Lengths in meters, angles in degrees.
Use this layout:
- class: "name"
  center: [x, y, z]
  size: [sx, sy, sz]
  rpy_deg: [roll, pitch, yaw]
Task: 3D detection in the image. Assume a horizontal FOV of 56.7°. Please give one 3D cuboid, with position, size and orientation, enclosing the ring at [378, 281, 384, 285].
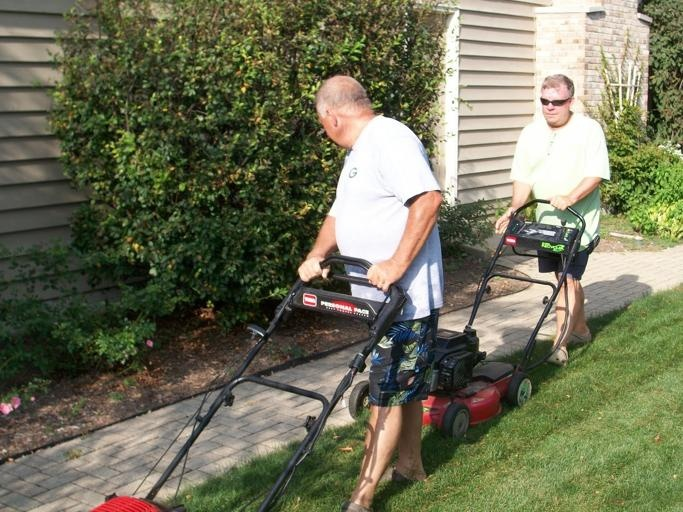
- class: "ring"
  center: [0.233, 0.156, 3.673]
  size: [0.025, 0.015, 0.023]
  rpy_deg: [3, -17, 1]

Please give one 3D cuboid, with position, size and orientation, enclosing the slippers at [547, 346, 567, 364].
- class: "slippers"
  center: [2.057, 0.957, 5.998]
  size: [0.151, 0.097, 0.211]
  rpy_deg: [20, 5, -4]

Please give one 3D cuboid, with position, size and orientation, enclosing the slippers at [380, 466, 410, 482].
- class: "slippers"
  center: [0.374, 1.513, 4.370]
  size: [0.127, 0.061, 0.097]
  rpy_deg: [7, 15, -7]

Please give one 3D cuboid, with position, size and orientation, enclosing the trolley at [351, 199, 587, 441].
- class: "trolley"
  center: [1.225, 0.494, 5.458]
  size: [2.234, 1.540, 0.904]
  rpy_deg: [-17, 22, -37]

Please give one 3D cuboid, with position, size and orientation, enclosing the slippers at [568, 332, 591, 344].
- class: "slippers"
  center: [2.470, 0.847, 6.591]
  size: [0.241, 0.109, 0.091]
  rpy_deg: [-2, 8, -9]
